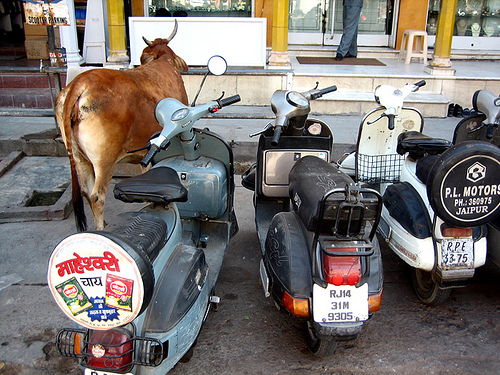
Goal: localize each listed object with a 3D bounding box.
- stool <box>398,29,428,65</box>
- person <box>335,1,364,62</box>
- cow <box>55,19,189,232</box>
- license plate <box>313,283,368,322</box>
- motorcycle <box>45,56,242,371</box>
[{"bbox_3d":[4.279,-3.672,10.236,0.651,0.824,1.308,6,20,17],"label":"stool"},{"bbox_3d":[2.669,-4.214,10.596,0.574,1.453,1.199,5,19,14],"label":"person"},{"bbox_3d":[-1.463,-0.781,5.116,0.844,2.262,2.495,9,23,18],"label":"cow"},{"bbox_3d":[0.634,0.801,2.752,0.387,0.297,0.035,0,5,-2],"label":"license plate"},{"bbox_3d":[-0.647,0.377,3.002,0.834,1.976,1.790,3,19,10],"label":"motorcycle"}]
